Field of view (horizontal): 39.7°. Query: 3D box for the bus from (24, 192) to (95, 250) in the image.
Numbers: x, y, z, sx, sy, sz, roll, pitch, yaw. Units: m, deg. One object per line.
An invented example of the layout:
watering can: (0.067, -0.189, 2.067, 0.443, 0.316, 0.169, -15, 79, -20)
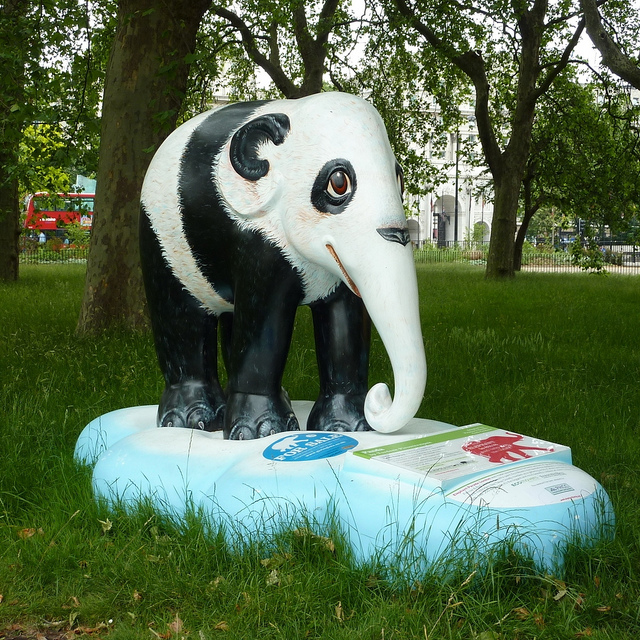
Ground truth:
bus: (-8.126, -3.214, 27.961, 0.786, 1.863, 2.828, 26, 21, 35)

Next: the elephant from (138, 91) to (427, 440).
elephant: (-0.144, -0.190, 3.639, 1.402, 1.461, 0.485, 9, 10, 38)
